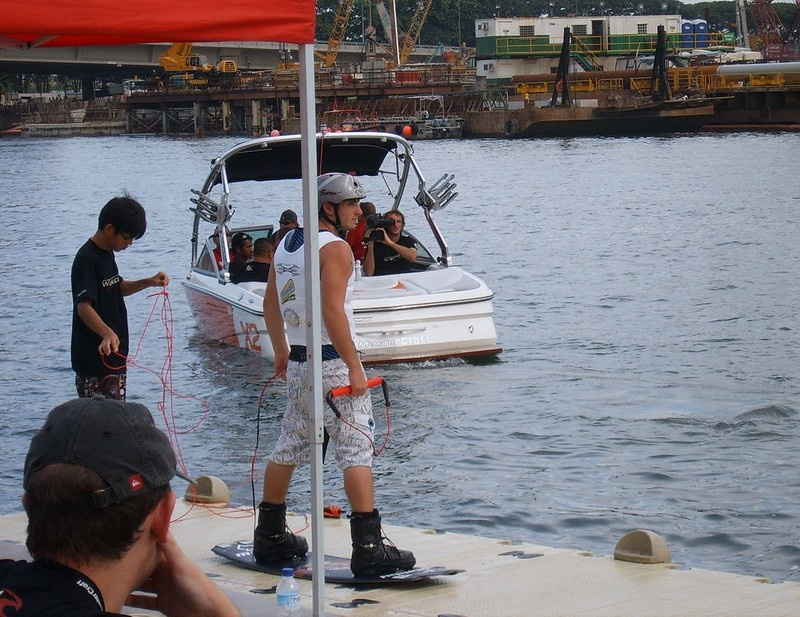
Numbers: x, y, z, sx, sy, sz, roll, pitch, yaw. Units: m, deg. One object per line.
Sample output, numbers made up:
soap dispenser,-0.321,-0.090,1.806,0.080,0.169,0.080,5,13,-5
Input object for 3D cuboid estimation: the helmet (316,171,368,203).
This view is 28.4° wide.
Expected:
helmet,-0.436,-0.872,11.725,0.311,0.172,0.213,16,-1,1

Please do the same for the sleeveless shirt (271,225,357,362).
sleeveless shirt,-0.752,-0.122,11.554,0.637,0.944,0.614,0,18,-31

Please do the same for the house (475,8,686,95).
house,10.605,-15.000,91.224,10.663,3.198,3.939,-3,12,-17

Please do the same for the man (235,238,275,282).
man,-1.936,-0.631,19.205,0.696,0.487,0.391,-11,11,-43

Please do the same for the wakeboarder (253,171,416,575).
wakeboarder,-0.593,0.504,11.577,0.751,2.464,1.961,-2,8,-8

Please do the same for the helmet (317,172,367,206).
helmet,-0.446,-0.880,11.734,0.319,0.180,0.225,19,4,3
